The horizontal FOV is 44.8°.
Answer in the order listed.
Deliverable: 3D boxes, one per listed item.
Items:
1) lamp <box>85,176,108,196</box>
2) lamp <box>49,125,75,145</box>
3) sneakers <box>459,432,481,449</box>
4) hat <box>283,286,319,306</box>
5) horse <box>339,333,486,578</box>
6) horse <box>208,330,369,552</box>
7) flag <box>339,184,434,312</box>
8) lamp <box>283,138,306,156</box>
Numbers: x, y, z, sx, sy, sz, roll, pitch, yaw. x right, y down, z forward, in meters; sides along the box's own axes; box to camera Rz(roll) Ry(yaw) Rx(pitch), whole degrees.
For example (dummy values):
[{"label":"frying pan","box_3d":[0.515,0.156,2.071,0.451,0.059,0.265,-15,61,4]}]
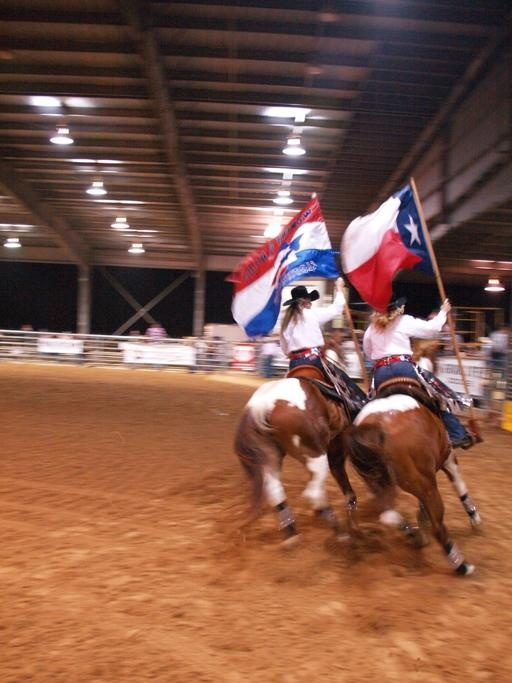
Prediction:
[{"label":"lamp","box_3d":[-3.983,-3.870,15.496,0.453,0.378,0.402,2,-3,-4]},{"label":"lamp","box_3d":[-3.779,-4.058,12.259,0.597,0.406,0.522,0,2,-12]},{"label":"sneakers","box_3d":[1.480,0.693,4.383,0.133,0.114,0.350,-10,-13,27]},{"label":"hat","box_3d":[0.302,-0.295,4.233,0.151,0.072,0.188,-29,4,-28]},{"label":"horse","box_3d":[1.021,0.790,4.093,0.526,1.211,2.053,-12,-6,25]},{"label":"horse","box_3d":[0.422,0.711,4.322,0.552,1.086,1.856,-11,-7,26]},{"label":"flag","box_3d":[0.868,-0.712,4.286,0.274,0.566,0.866,-9,0,-32]},{"label":"lamp","box_3d":[0.722,-3.813,12.207,0.421,0.213,0.399,4,7,27]}]
